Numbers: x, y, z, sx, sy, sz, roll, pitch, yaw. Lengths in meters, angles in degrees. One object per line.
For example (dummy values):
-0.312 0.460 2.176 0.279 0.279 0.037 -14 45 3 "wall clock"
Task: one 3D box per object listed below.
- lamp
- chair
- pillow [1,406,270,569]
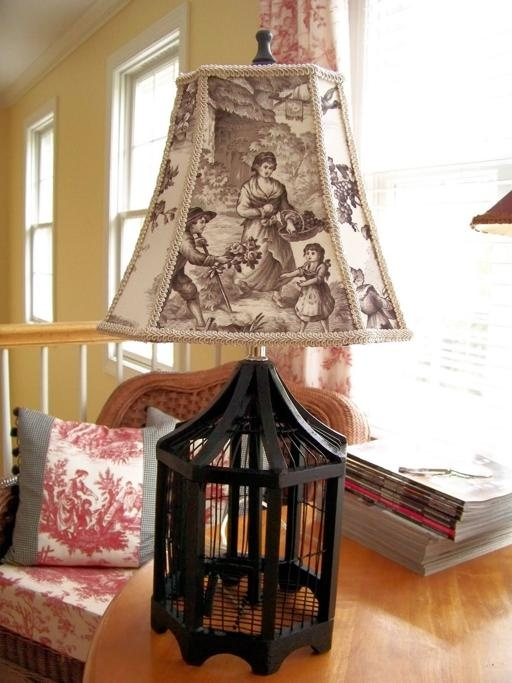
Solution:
-0.012 -0.002 0.721 0.336 0.737 0.261 -1 9 -14 "lamp"
-0.251 0.420 1.682 0.834 0.973 0.759 0 -6 6 "chair"
-0.253 0.285 1.117 0.462 0.392 0.167 2 -29 -6 "pillow"
